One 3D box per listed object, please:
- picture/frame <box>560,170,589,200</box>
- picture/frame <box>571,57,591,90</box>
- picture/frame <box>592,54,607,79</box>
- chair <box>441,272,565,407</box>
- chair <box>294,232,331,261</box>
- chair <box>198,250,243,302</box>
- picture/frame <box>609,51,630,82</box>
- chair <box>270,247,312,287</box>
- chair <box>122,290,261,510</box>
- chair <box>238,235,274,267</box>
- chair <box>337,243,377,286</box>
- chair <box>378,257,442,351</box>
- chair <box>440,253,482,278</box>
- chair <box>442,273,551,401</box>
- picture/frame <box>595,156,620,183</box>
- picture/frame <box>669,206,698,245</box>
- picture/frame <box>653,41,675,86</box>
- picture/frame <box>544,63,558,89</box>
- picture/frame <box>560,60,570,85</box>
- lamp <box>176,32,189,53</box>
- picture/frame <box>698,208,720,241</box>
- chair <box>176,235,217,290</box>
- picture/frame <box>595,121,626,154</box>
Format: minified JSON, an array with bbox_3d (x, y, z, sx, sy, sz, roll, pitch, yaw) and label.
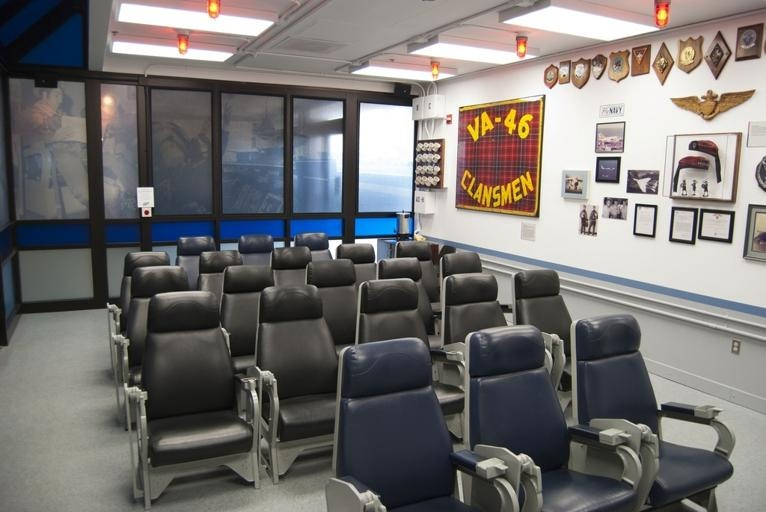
[{"bbox_3d":[2.536,-0.957,6.922,0.045,0.427,0.381,-5,9,-35],"label":"picture/frame"},{"bbox_3d":[2.572,-2.382,6.821,0.028,0.367,0.267,-4,8,-35],"label":"picture/frame"},{"bbox_3d":[2.721,-2.397,6.618,0.024,0.294,0.204,-3,7,-28],"label":"picture/frame"},{"bbox_3d":[1.221,0.783,5.388,1.143,1.545,1.100,-1,-2,-27],"label":"chair"},{"bbox_3d":[-0.991,-0.146,7.658,0.387,0.565,0.524,0,-4,-23],"label":"chair"},{"bbox_3d":[-1.962,0.200,6.358,0.492,0.719,0.603,3,-1,-21],"label":"chair"},{"bbox_3d":[2.872,-2.327,6.404,0.023,0.363,0.278,-4,8,-35],"label":"picture/frame"},{"bbox_3d":[-1.124,0.096,6.390,0.434,0.531,0.475,0,8,-20],"label":"chair"},{"bbox_3d":[-1.553,1.120,4.305,0.992,1.599,0.785,-3,7,-27],"label":"chair"},{"bbox_3d":[-1.792,-0.113,7.482,0.459,0.615,0.496,-2,4,-18],"label":"chair"},{"bbox_3d":[-0.351,0.045,6.839,0.412,0.615,0.560,0,1,-25],"label":"chair"},{"bbox_3d":[0.345,0.437,5.851,0.758,1.110,0.861,-3,5,-34],"label":"chair"},{"bbox_3d":[0.898,0.058,6.153,0.299,0.406,0.371,-1,9,-12],"label":"chair"},{"bbox_3d":[0.853,0.715,5.251,0.985,1.328,1.075,-2,-1,-23],"label":"chair"},{"bbox_3d":[2.806,-1.091,6.547,0.022,0.340,0.314,-6,13,-36],"label":"picture/frame"},{"bbox_3d":[3.357,-0.357,5.858,0.043,0.554,0.393,1,4,-38],"label":"picture/frame"},{"bbox_3d":[3.189,-2.201,5.992,0.041,0.458,0.246,-3,7,-26],"label":"picture/frame"},{"bbox_3d":[2.306,-2.478,7.189,0.041,0.319,0.235,-3,7,-32],"label":"picture/frame"},{"bbox_3d":[2.433,-2.464,7.014,0.026,0.294,0.170,-3,7,-30],"label":"picture/frame"},{"bbox_3d":[-2.503,-2.675,6.605,0.123,0.233,0.461,-2,6,-18],"label":"lamp"},{"bbox_3d":[3.521,-0.353,5.671,0.029,0.370,0.327,-2,5,-29],"label":"picture/frame"},{"bbox_3d":[-2.617,0.061,7.251,0.634,0.940,0.779,0,0,-21],"label":"chair"},{"bbox_3d":[2.828,-1.485,6.503,0.016,0.440,0.408,-4,10,-37],"label":"picture/frame"}]
